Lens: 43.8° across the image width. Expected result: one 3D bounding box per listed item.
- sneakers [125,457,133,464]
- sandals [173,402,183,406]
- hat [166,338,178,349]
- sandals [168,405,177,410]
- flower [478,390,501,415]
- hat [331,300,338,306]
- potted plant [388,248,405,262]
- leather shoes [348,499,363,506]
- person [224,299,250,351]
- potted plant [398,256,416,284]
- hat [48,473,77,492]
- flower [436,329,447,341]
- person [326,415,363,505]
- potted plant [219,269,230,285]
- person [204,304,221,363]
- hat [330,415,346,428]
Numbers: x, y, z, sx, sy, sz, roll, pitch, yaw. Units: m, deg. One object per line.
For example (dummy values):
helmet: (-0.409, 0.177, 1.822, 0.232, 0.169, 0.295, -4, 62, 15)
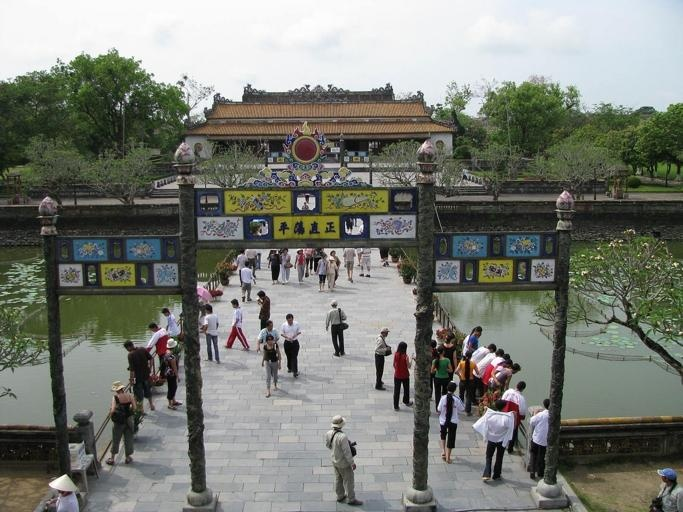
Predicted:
sneakers: (-4.736, 4.549, 18.988, 0.166, 0.134, 0.130, -4, 14, -22)
sandals: (-4.051, 3.654, 21.078, 0.219, 0.073, 0.149, 0, -31, -23)
hat: (-4.284, 2.233, 21.312, 0.295, 0.098, 0.268, 12, 35, 44)
sandals: (-4.155, 3.727, 20.908, 0.193, 0.077, 0.085, 3, 7, 6)
flower: (3.461, 3.445, 19.996, 0.477, 0.599, 0.357, 12, 33, 7)
hat: (-0.204, 1.255, 22.706, 0.147, 0.159, 0.204, 0, -5, -1)
potted plant: (2.235, -0.054, 34.991, 0.641, 0.662, 0.643, 0, 1, -28)
leather shoes: (0.284, 5.167, 17.817, 0.270, 0.117, 0.119, -1, 24, -6)
person: (-2.974, 1.753, 24.326, 0.677, 1.585, 1.971, 0, 13, -7)
potted plant: (2.397, 0.549, 31.215, 0.768, 0.996, 0.801, 3, 7, 32)
hat: (-5.520, 4.524, 16.899, 0.467, 0.430, 0.508, -1, 14, -12)
flower: (2.467, 1.970, 20.908, 0.315, 0.327, 0.316, 0, 2, -2)
person: (0.041, 4.278, 17.768, 0.396, 1.819, 0.741, -11, 18, -44)
potted plant: (-4.236, 0.795, 30.649, 0.313, 0.550, 0.400, -1, 14, -12)
person: (-3.541, 2.075, 23.240, 0.402, 1.490, 0.916, 0, 13, -8)
hat: (-0.043, 3.453, 17.850, 0.192, 0.263, 0.323, 9, 15, 28)
